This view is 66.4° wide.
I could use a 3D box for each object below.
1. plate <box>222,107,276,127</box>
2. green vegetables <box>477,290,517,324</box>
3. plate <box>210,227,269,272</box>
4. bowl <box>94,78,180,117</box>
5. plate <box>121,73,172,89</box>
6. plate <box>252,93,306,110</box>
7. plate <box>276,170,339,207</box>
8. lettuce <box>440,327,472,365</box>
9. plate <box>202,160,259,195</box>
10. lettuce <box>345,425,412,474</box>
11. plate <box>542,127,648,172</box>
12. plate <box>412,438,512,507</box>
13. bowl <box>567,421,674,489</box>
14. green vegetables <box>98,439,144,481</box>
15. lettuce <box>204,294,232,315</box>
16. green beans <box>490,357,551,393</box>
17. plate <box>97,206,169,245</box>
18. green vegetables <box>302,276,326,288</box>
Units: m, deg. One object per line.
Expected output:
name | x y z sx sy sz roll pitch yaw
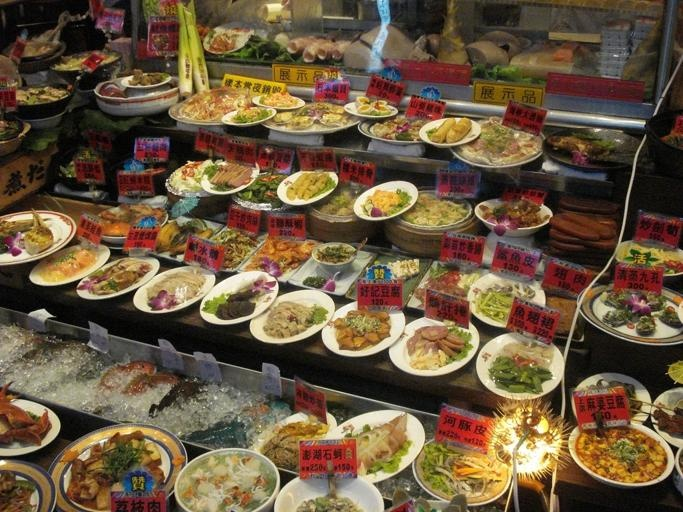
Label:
plate | -0.916 -1.360 5.015 0.450 0.138 0.440 -22 33 -36
green vegetables | 1.130 0.379 3.883 0.258 0.072 0.244 17 55 19
plate | -0.911 -0.062 4.579 0.377 0.069 0.443 14 35 21
bowl | -2.059 -1.596 5.270 0.583 0.170 0.546 0 23 0
plate | -1.975 -1.813 5.344 0.358 0.079 0.356 -19 31 -33
plate | -0.617 -1.532 5.133 0.558 0.129 0.310 13 30 25
plate | -0.315 -0.619 4.750 0.558 0.244 0.469 2 27 5
lettuce | 0.799 0.636 3.664 0.307 0.091 0.223 8 58 21
plate | -1.076 -0.737 4.957 0.560 0.197 0.453 1 27 2
lettuce | 0.261 1.240 3.365 0.370 0.166 0.290 -6 28 -11
plate | 2.020 -0.867 4.196 0.611 0.097 0.497 -9 29 0
plate | 0.712 1.358 3.171 0.553 0.193 0.426 13 30 24
bowl | 1.655 1.199 3.106 0.559 0.153 0.383 -1 27 -1
green vegetables | -1.377 1.283 3.290 0.259 0.144 0.270 -10 29 -17
lettuce | -0.999 0.380 4.136 0.190 0.072 0.221 8 28 16
green beans | 1.182 0.790 3.448 0.329 0.079 0.220 -1 46 14
plate | -2.033 -0.333 4.876 0.561 0.111 0.460 0 28 -1
green vegetables | -0.218 0.214 4.247 0.128 0.034 0.114 2 21 2
